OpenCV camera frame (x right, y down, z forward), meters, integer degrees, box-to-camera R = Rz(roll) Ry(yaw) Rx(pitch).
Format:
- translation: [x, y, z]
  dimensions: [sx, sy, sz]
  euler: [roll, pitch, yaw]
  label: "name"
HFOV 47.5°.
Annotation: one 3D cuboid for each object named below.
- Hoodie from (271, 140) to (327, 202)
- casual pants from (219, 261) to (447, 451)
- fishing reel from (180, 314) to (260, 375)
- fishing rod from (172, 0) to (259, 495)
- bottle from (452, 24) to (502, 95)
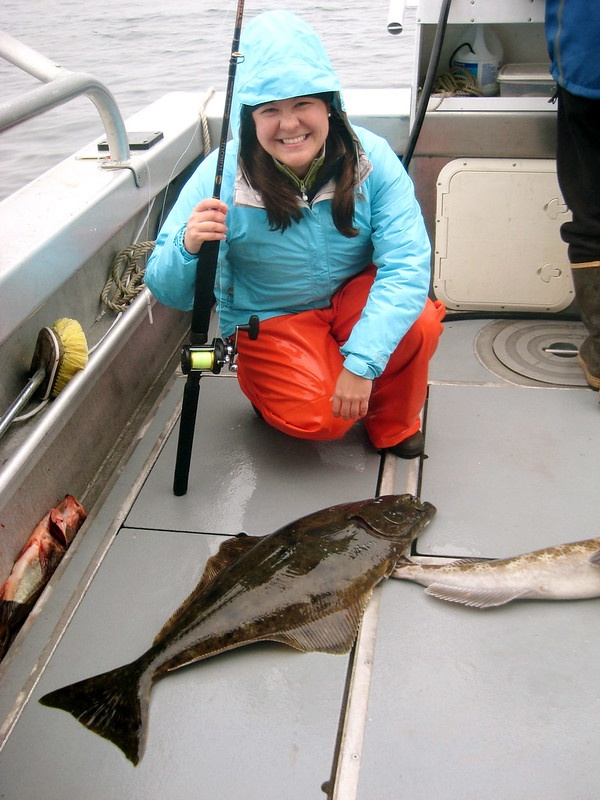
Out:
- translation: [0.014, -0.570, 1.723]
  dimensions: [0.123, 0.152, 0.078]
  euler: [-6, 17, 6]
  label: "Hoodie"
- translation: [0.093, -0.168, 2.063]
  dimensions: [0.552, 0.342, 0.706]
  euler: [-27, 38, -16]
  label: "casual pants"
- translation: [-0.202, -0.132, 1.652]
  dimensions: [0.182, 0.139, 0.085]
  euler: [-4, 27, -21]
  label: "fishing reel"
- translation: [-0.206, -0.294, 1.649]
  dimensions: [0.191, 1.239, 0.149]
  euler: [1, -1, -12]
  label: "fishing rod"
- translation: [0.719, -1.337, 2.697]
  dimensions: [0.172, 0.254, 0.169]
  euler: [-3, 27, 2]
  label: "bottle"
